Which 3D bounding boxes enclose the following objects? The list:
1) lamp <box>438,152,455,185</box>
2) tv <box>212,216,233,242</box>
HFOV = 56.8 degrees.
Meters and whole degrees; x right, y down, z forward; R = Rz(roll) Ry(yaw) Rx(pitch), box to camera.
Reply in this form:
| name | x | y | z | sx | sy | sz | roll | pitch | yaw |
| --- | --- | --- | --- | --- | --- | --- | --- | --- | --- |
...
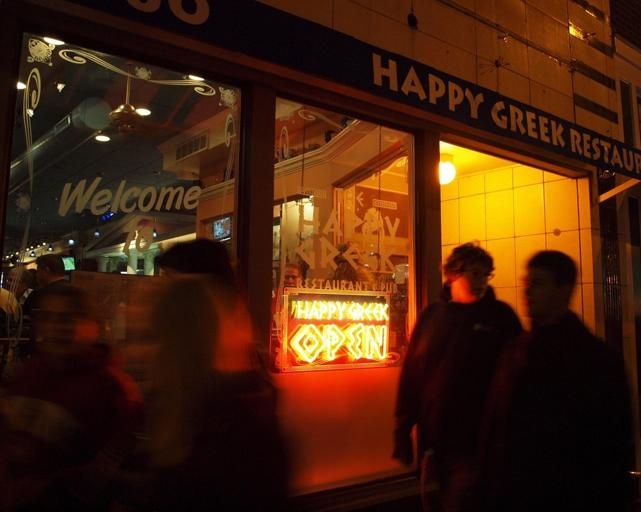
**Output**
| name | x | y | z | sx | sy | sz | roll | pitch | yaw |
| --- | --- | --- | --- | --- | --- | --- | --- | --- | --- |
| lamp | 1.338 | -0.939 | 6.422 | 0.222 | 0.307 | 0.226 | 0 | 8 | -30 |
| tv | -0.708 | -0.188 | 4.243 | 0.151 | 0.199 | 0.024 | -3 | -8 | 11 |
